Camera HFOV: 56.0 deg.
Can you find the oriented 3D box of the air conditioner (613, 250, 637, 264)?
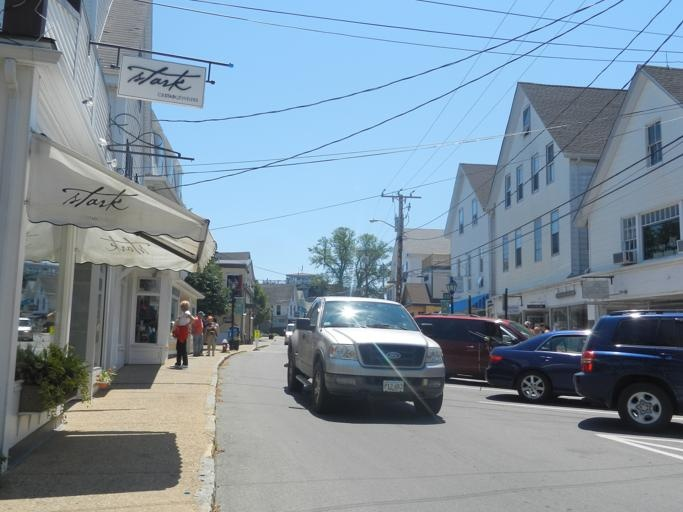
[{"bbox_3d":[10.313,0.065,23.198,0.325,0.490,0.476,24,-24,-39],"label":"air conditioner"}]

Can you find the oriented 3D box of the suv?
[{"bbox_3d":[0.448,2.002,13.349,2.610,2.274,3.137,3,-3,-15],"label":"suv"}]

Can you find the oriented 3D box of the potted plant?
[{"bbox_3d":[-4.009,1.654,8.787,0.563,0.839,1.065,1,-3,15],"label":"potted plant"}]

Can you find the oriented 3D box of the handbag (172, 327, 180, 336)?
[{"bbox_3d":[-5.196,2.350,20.047,0.155,0.320,0.410,3,-4,-31],"label":"handbag"}]

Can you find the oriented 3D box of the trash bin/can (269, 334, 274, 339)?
[{"bbox_3d":[-9.028,10.433,82.727,0.619,0.664,0.353,1,-8,-14],"label":"trash bin/can"}]

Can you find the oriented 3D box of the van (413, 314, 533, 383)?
[{"bbox_3d":[3.983,2.620,19.250,3.292,1.795,2.009,-3,-5,23],"label":"van"}]
